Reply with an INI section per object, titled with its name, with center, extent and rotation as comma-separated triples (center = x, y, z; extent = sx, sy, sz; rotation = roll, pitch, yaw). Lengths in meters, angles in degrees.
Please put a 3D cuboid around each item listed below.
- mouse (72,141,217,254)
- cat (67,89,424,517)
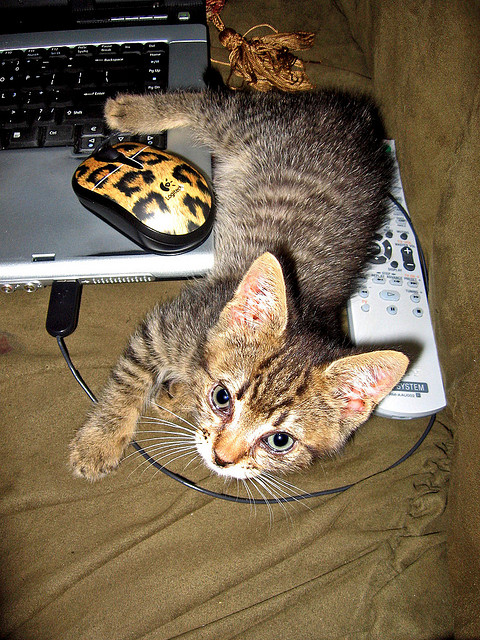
[mouse]
center = -0.172, -0.244, 1.065
extent = 0.266, 0.097, 0.181
rotation = 35, 66, 12
[cat]
center = 0.039, -0.127, 1.220
extent = 0.683, 0.342, 0.958
rotation = 3, 79, -10
